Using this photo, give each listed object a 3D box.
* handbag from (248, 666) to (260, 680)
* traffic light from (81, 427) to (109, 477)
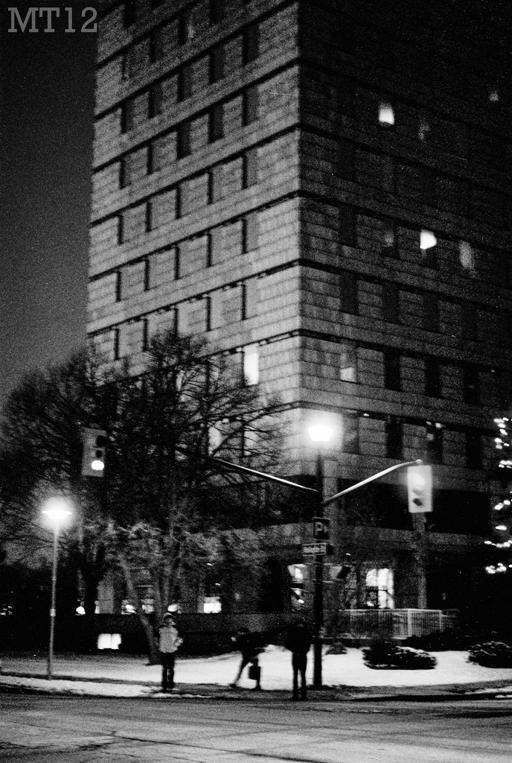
[{"bbox_3d":[-0.026,6.534,27.102,0.222,0.336,0.485,1,-15,0],"label":"handbag"},{"bbox_3d":[-3.036,1.302,22.719,0.423,1.002,0.838,3,-15,-7],"label":"traffic light"}]
